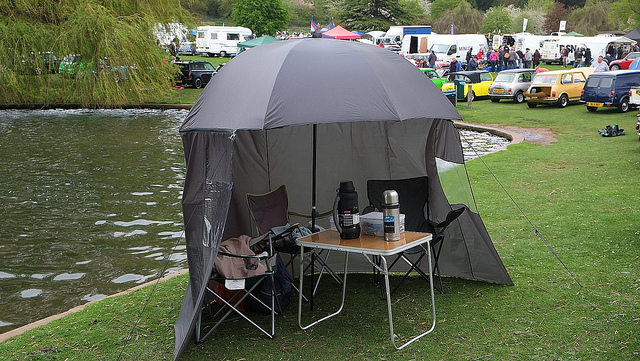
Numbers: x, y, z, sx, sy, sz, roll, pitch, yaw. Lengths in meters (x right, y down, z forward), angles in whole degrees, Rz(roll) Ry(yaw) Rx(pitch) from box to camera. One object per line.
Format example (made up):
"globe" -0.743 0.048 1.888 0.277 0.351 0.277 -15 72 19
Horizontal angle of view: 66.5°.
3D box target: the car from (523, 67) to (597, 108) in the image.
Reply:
"car" 13.118 -4.974 26.245 5.388 1.833 1.838 -12 15 -34

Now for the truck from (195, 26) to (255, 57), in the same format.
"truck" -9.971 -14.878 52.586 6.500 3.008 2.871 -11 22 -35

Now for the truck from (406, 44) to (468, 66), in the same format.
"truck" 10.578 -10.413 40.362 2.156 2.142 4.340 14 23 39

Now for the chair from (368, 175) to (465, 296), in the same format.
"chair" 1.768 1.136 9.482 1.975 2.051 1.958 2 12 37

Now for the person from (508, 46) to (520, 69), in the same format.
"person" 13.583 -8.531 34.423 0.574 1.229 0.807 8 19 32

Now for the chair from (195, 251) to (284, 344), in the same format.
"chair" -1.453 1.816 9.125 1.570 1.988 1.454 4 6 3

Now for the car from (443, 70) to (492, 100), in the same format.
"car" 9.006 -5.833 29.122 1.851 1.467 3.410 11 7 16

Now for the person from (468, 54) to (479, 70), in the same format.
"person" 9.754 -7.382 31.242 0.580 0.671 0.788 3 16 16

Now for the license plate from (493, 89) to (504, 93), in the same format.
"license plate" 9.918 -4.965 27.221 0.063 0.177 0.624 -14 20 -37

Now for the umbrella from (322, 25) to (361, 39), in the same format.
"umbrella" 1.835 -12.595 41.823 2.545 1.132 5.039 -2 15 1

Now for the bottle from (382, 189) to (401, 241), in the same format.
"bottle" 1.247 0.586 8.471 0.303 0.840 0.302 -2 16 1

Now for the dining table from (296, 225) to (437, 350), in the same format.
"dining table" 0.919 1.896 9.472 2.707 2.204 2.078 2 7 33

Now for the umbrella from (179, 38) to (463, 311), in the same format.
"umbrella" -0.140 -0.613 11.318 5.489 4.991 5.747 -5 13 -25
